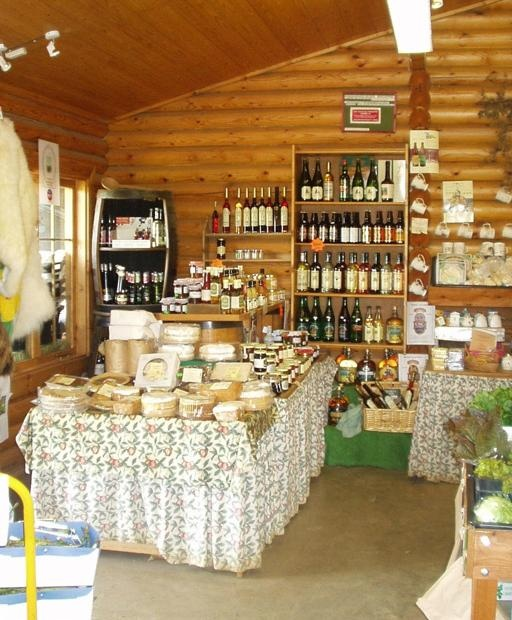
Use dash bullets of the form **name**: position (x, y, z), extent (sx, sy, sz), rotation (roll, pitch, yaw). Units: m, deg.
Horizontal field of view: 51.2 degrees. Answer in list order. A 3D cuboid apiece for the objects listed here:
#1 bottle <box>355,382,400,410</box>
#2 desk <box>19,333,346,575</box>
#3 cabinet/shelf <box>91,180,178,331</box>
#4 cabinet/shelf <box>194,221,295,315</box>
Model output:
- **bottle**: position (1.081, 0.774, 4.711), extent (0.255, 0.219, 0.229), rotation (0, 7, 6)
- **desk**: position (-0.352, 0.892, 3.579), extent (1.444, 0.638, 2.047), rotation (0, -1, 13)
- **cabinet/shelf**: position (-1.335, -0.535, 5.862), extent (0.924, 1.103, 0.593), rotation (2, 1, -9)
- **cabinet/shelf**: position (-0.043, -0.520, 6.124), extent (1.014, 0.846, 0.502), rotation (2, 19, 12)
